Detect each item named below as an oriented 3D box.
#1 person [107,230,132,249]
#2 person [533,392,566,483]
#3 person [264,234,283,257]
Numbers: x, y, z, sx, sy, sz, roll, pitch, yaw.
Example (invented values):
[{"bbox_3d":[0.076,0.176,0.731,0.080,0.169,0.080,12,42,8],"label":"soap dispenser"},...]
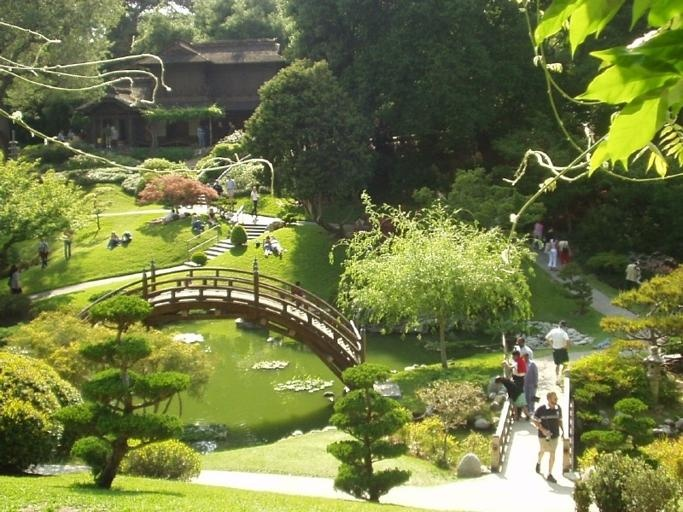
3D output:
[{"bbox_3d":[-14.122,-1.003,46.979,0.974,0.585,1.300,-14,9,-39],"label":"person"},{"bbox_3d":[7.112,6.146,25.420,0.944,2.968,1.291,2,-2,19],"label":"person"},{"bbox_3d":[-4.258,-0.611,45.144,0.775,0.471,1.472,-7,30,0],"label":"person"}]
